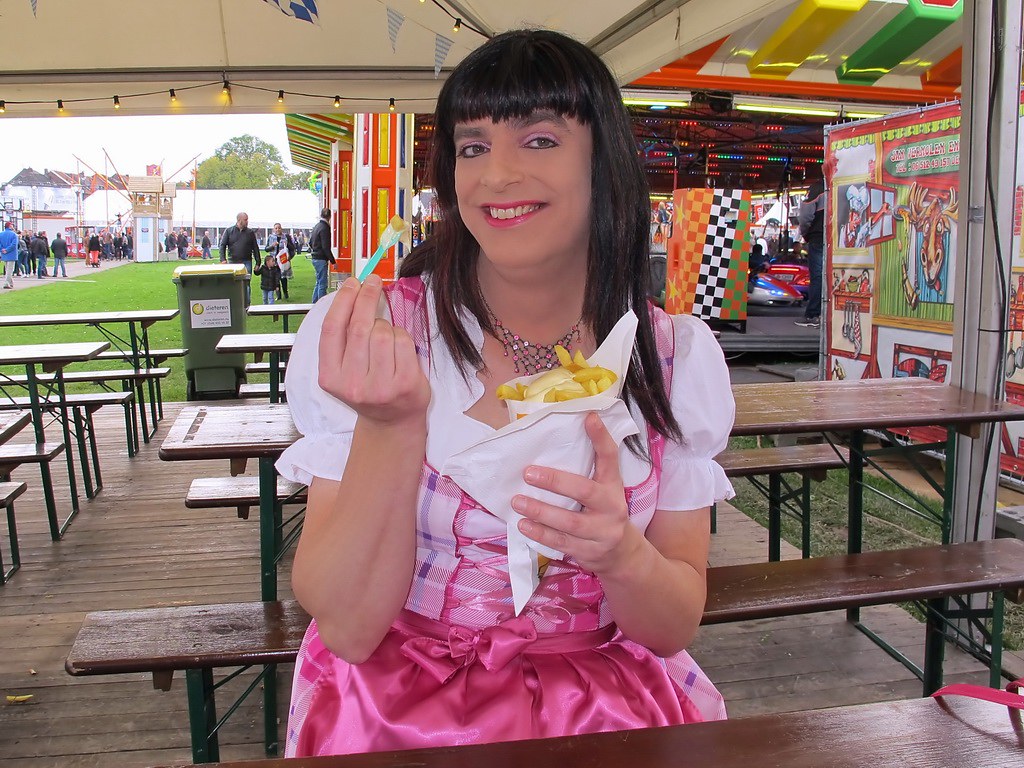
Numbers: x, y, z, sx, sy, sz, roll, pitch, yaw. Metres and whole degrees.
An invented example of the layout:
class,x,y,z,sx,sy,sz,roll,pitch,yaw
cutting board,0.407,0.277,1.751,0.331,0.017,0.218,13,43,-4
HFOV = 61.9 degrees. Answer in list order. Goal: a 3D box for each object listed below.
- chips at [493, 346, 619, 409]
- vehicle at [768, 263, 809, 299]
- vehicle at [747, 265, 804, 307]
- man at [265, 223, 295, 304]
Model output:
class,x,y,z,sx,sy,sz,roll,pitch,yaw
chips,0.129,-0.002,2.093,0.168,0.077,0.205,-1,9,20
vehicle,3.865,-1.490,11.966,0.434,0.225,0.727,16,23,25
vehicle,3.725,-1.348,11.708,0.897,0.277,0.525,-6,18,-14
man,-4.146,-2.200,15.288,0.488,1.296,0.455,7,24,10
